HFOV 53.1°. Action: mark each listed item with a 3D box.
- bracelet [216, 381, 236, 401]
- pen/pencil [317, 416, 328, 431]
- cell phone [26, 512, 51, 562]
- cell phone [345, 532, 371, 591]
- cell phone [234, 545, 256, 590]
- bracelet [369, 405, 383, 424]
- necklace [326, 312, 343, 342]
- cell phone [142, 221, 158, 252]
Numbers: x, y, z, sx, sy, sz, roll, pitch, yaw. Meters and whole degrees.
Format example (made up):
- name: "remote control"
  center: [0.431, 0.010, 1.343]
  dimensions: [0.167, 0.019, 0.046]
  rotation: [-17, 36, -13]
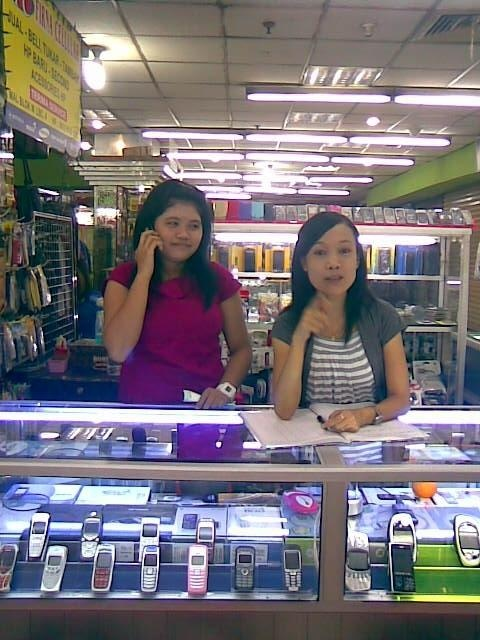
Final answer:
- name: "bracelet"
  center: [-0.042, 0.232, 1.487]
  dimensions: [0.060, 0.059, 0.116]
  rotation: [0, 11, -1]
- name: "pen/pencil"
  center: [0.203, 0.253, 1.175]
  dimensions: [0.010, 0.011, 0.040]
  rotation: [-33, 5, 7]
- name: "cell phone"
  center: [-0.453, 0.485, 1.083]
  dimensions: [0.030, 0.106, 0.024]
  rotation: [0, -33, -2]
- name: "cell phone"
  center: [0.247, 0.503, 1.011]
  dimensions: [0.057, 0.121, 0.031]
  rotation: [3, -18, -7]
- name: "cell phone"
  center: [0.010, 0.525, 1.017]
  dimensions: [0.041, 0.054, 0.077]
  rotation: [0, 10, 0]
- name: "bracelet"
  center: [0.337, 0.232, 1.195]
  dimensions: [0.027, 0.040, 0.042]
  rotation: [-9, 7, -7]
- name: "necklace"
  center: [0.284, 0.022, 1.417]
  dimensions: [0.064, 0.093, 0.026]
  rotation: [0, -1, -3]
- name: "cell phone"
  center: [-0.280, -0.260, 1.502]
  dimensions: [0.065, 0.091, 0.025]
  rotation: [5, 13, 8]
